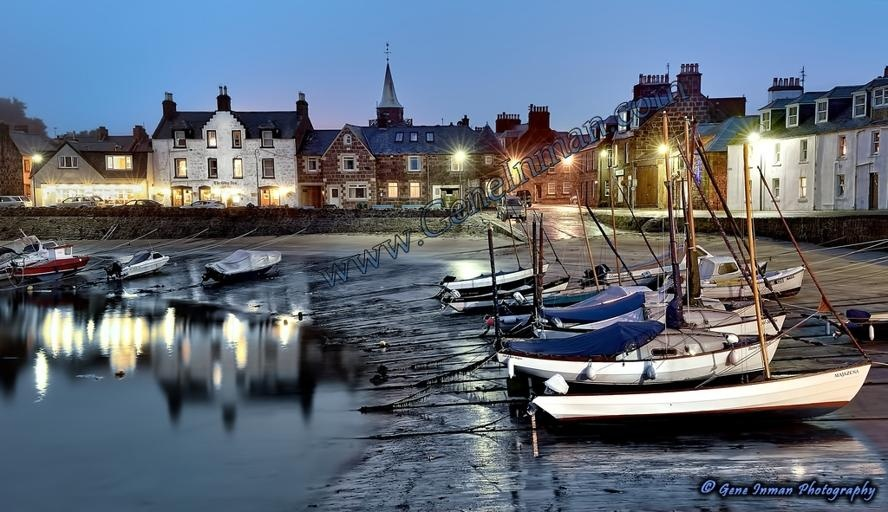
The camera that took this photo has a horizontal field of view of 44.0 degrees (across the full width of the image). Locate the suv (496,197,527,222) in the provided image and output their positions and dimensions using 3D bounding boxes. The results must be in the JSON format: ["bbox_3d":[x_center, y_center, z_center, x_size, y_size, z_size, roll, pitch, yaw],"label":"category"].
[{"bbox_3d":[5.859,-3.704,90.801,1.803,1.292,2.806,0,10,-1],"label":"suv"}]

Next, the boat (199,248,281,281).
[{"bbox_3d":[-13.366,0.665,73.253,4.188,1.347,2.285,-15,26,-39],"label":"boat"}]

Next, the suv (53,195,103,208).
[{"bbox_3d":[-34.087,-5.014,102.860,3.834,1.212,1.618,3,4,7],"label":"suv"}]

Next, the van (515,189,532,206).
[{"bbox_3d":[7.522,-5.250,100.509,1.292,1.235,2.174,-1,-3,5],"label":"van"}]
